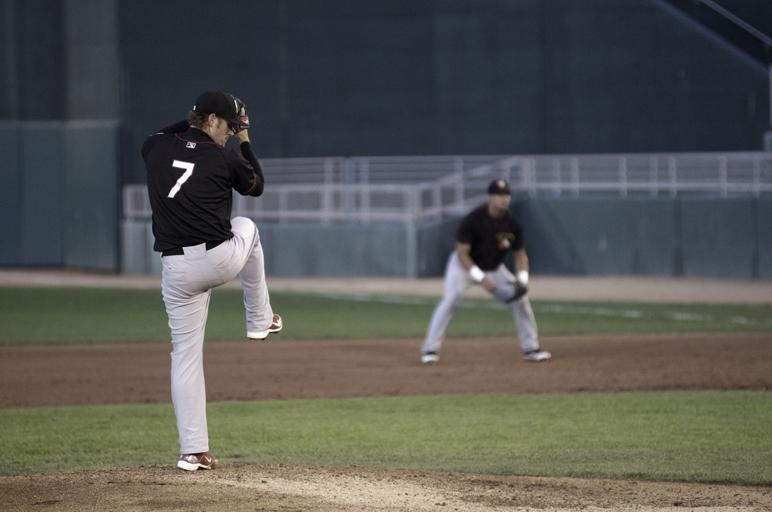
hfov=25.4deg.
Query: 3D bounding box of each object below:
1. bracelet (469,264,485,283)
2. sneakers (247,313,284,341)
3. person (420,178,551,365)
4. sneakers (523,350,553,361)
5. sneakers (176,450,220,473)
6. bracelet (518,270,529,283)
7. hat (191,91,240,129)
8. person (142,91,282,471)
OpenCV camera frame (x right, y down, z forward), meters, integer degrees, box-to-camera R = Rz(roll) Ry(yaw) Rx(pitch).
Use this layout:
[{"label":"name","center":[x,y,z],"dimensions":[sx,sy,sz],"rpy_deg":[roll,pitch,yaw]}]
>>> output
[{"label":"bracelet","center":[0.865,0.133,16.095],"dimensions":[0.129,0.167,0.046],"rpy_deg":[-44,2,6]},{"label":"sneakers","center":[-1.034,0.603,15.020],"dimensions":[0.172,0.222,0.434],"rpy_deg":[8,19,32]},{"label":"person","center":[0.979,0.145,16.158],"dimensions":[1.188,1.748,0.566],"rpy_deg":[1,15,2]},{"label":"sneakers","center":[1.456,0.906,16.352],"dimensions":[0.282,0.106,0.108],"rpy_deg":[-3,16,7]},{"label":"sneakers","center":[-1.586,1.716,14.690],"dimensions":[0.388,0.165,0.135],"rpy_deg":[-1,4,-27]},{"label":"bracelet","center":[1.317,0.161,16.112],"dimensions":[0.118,0.110,0.120],"rpy_deg":[-10,-7,25]},{"label":"hat","center":[-1.392,-1.280,14.599],"dimensions":[0.525,0.242,0.320],"rpy_deg":[10,-8,-7]},{"label":"person","center":[-1.464,0.188,14.582],"dimensions":[0.921,3.172,0.668],"rpy_deg":[-5,16,-18]}]
